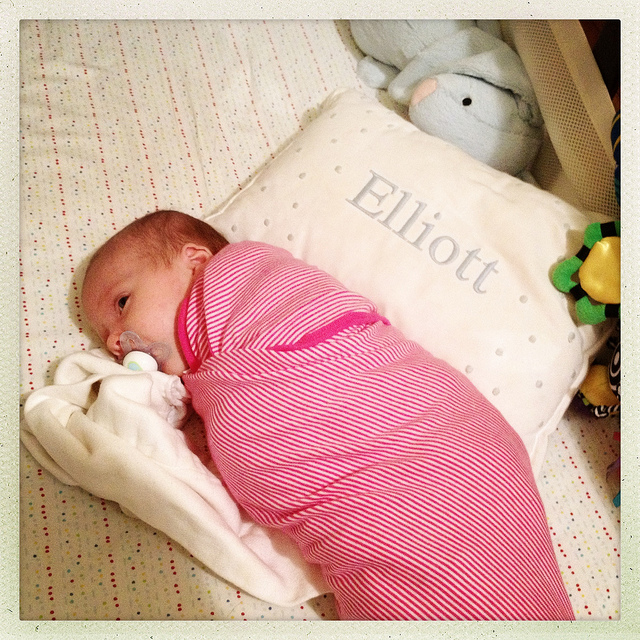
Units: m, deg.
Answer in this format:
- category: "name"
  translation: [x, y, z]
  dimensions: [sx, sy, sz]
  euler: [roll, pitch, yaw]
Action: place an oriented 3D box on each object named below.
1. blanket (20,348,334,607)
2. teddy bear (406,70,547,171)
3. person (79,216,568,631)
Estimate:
- category: "blanket"
  translation: [-0.242, 0.238, 1.062]
  dimensions: [0.457, 0.148, 0.308]
  euler: [29, 24, -4]
- category: "teddy bear"
  translation: [0.330, -0.419, 1.423]
  dimensions: [0.319, 0.102, 0.238]
  euler: [26, 32, 20]
- category: "person"
  translation: [-0.053, 0.193, 1.196]
  dimensions: [0.844, 0.239, 0.425]
  euler: [37, 66, 15]
